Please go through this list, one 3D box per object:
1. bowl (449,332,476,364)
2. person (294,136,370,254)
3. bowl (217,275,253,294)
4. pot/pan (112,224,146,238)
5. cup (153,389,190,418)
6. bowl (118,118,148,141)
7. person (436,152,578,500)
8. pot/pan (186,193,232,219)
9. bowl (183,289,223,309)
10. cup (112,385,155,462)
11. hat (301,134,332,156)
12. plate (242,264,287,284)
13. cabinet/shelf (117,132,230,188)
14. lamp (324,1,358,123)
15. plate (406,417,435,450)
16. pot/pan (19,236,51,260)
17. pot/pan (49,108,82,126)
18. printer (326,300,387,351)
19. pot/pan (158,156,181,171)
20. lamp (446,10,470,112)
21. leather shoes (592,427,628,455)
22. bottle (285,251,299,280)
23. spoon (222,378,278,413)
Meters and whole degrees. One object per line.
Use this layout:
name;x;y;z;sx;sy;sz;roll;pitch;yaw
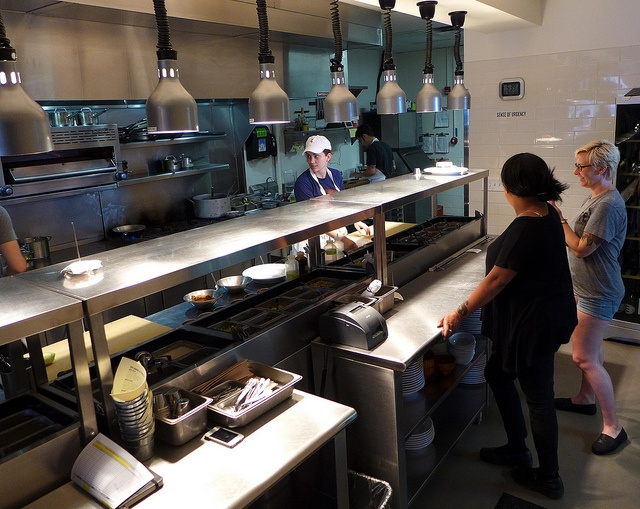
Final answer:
bowl;0.995;0.653;3.299;0.186;0.143;0.196;-3;11;1
person;0.065;-0.378;4.522;0.512;1.442;0.477;-5;6;20
bowl;-0.525;0.175;2.793;0.196;0.060;0.177;-6;18;-1
pot/pan;-1.943;-0.235;4.682;0.320;0.093;0.219;-9;18;-9
cup;-0.594;0.583;1.858;0.082;0.060;0.125;-3;3;-22
bowl;-1.865;-1.234;4.642;0.264;0.208;0.416;-12;18;-15
person;1.163;0.440;2.722;0.569;2.007;0.487;3;21;28
pot/pan;-1.224;-0.557;5.216;0.284;0.153;0.395;-11;13;-36
bowl;-0.663;0.246;2.631;0.200;0.052;0.241;-8;18;-6
cup;-0.690;0.631;1.760;0.144;0.265;0.135;-6;18;2
hat;-0.013;-1.028;4.378;0.159;0.117;0.233;6;12;29
plate;-0.355;0.116;2.956;0.275;0.067;0.264;-10;18;-11
cabinet/shelf;-1.530;-1.020;5.004;0.538;0.487;1.623;6;21;34
lamp;0.082;-1.028;2.477;0.180;0.619;0.309;-6;18;4
plate;0.625;1.127;2.933;0.212;0.096;0.217;-6;6;-3
pot/pan;-2.447;-0.090;3.997;0.303;0.134;0.175;-6;15;-31
pot/pan;-2.147;-1.141;3.883;0.244;0.096;0.200;17;22;42
printer;0.179;0.378;2.540;0.301;0.180;0.193;4;16;33
pot/pan;-1.595;-0.984;4.989;0.240;0.164;0.138;1;9;11
lamp;1.125;-1.583;3.821;0.169;0.774;0.570;-1;19;17
leather shoes;1.967;1.244;3.169;0.289;0.106;0.104;-9;2;-32
bottle;-0.181;0.070;2.928;0.090;0.126;0.158;-8;18;-4
spoon;-0.290;0.593;1.984;0.098;0.027;0.162;9;30;42
